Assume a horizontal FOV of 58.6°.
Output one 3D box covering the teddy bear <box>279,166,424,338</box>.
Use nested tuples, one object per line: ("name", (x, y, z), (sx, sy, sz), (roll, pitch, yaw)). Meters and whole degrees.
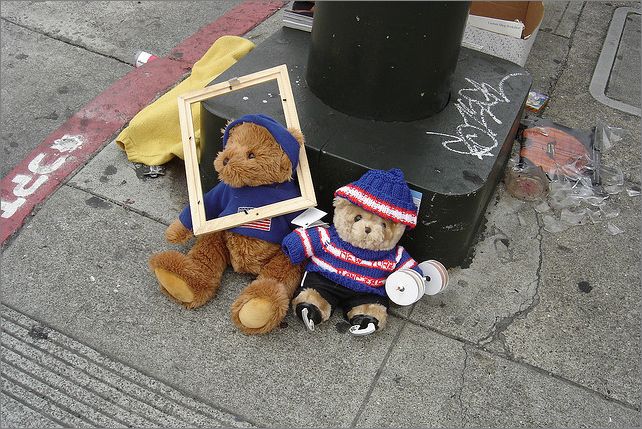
("teddy bear", (0.239, 0.229, 3.723), (0.993, 1.063, 0.750), (12, 26, -3))

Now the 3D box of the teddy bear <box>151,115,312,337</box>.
("teddy bear", (-0.556, -0.010, 3.777), (1.019, 1.224, 1.089), (7, 30, 5))
